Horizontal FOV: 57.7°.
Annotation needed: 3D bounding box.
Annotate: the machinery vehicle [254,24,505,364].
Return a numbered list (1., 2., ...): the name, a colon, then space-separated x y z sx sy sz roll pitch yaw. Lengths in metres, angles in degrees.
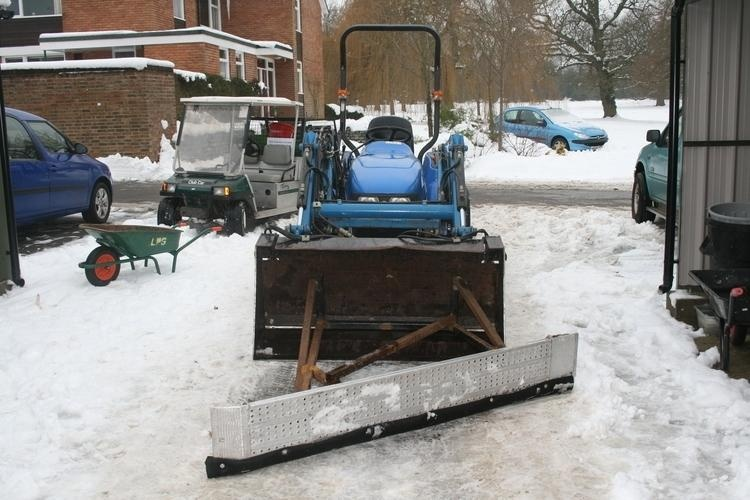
1. machinery vehicle: 0.208 -1.145 9.440 2.549 3.803 5.225 2 15 3

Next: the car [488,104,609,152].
1. car: 6.629 -4.654 25.956 2.098 1.476 3.861 -16 20 -36

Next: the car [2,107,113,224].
1. car: -5.702 -1.434 12.336 1.101 1.276 2.199 3 12 12

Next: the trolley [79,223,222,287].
1. trolley: -3.248 0.069 10.013 0.730 0.913 2.032 8 6 37
